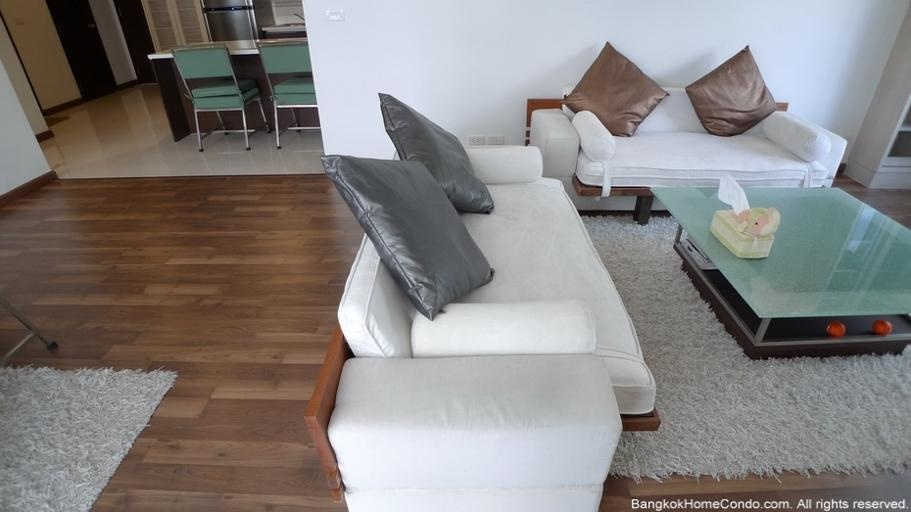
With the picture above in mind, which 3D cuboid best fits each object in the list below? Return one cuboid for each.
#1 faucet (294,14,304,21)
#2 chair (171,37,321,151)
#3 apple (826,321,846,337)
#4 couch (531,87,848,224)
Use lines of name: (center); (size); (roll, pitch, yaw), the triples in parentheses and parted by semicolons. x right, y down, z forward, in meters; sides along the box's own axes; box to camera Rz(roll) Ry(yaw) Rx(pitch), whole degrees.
faucet: (-2.599, -3.913, 9.289); (0.135, 0.121, 0.386); (-9, 31, -12)
chair: (-2.704, -2.039, 7.191); (1.771, 1.141, 0.874); (3, 43, -5)
apple: (2.923, 0.542, 4.353); (0.142, 0.122, 0.125); (-6, 35, 21)
couch: (2.268, -1.054, 5.661); (2.891, 0.947, 1.146); (-1, 37, -5)
